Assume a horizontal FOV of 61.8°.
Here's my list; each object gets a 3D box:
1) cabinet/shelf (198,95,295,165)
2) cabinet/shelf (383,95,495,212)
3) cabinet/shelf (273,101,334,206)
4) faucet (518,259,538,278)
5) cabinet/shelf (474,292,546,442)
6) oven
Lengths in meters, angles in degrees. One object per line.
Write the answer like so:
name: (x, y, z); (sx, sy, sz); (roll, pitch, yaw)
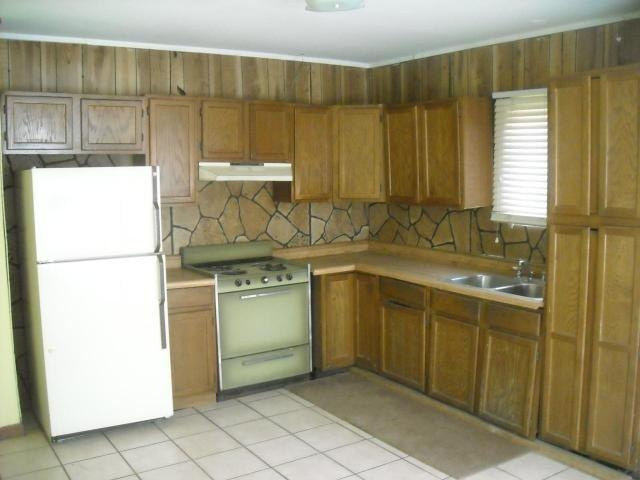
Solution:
cabinet/shelf: (-0.683, -1.077, 5.237); (0.876, 0.550, 0.468); (2, 14, 1)
cabinet/shelf: (1.131, -0.858, 5.253); (0.438, 0.984, 1.141); (-10, 13, -30)
cabinet/shelf: (-0.269, -0.861, 5.460); (0.379, 1.007, 0.570); (5, 14, 28)
faucet: (1.753, 0.237, 4.537); (0.141, 0.245, 0.137); (-3, 7, 17)
cabinet/shelf: (1.360, 1.008, 4.380); (0.660, 0.995, 0.686); (5, -12, 34)
oven: (-0.583, 0.788, 5.230); (1.120, 1.312, 0.854); (-2, 3, -29)
